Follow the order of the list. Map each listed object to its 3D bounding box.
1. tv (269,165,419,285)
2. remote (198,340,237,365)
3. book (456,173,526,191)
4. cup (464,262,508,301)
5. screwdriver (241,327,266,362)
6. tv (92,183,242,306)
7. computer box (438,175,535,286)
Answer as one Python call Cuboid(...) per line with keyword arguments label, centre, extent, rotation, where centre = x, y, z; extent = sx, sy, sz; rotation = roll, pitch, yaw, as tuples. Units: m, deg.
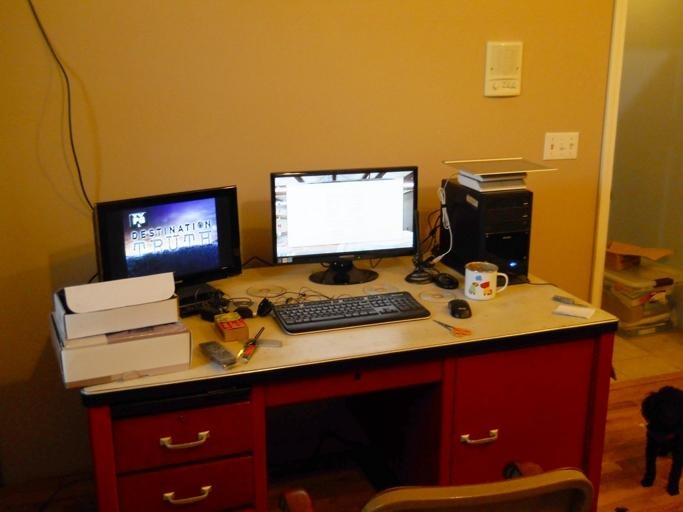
Cuboid(label="tv", centre=(0.008, -0.133, 2.386), extent=(0.478, 0.361, 0.193), rotation=(-4, 13, -10))
Cuboid(label="remote", centre=(-0.404, 0.314, 1.855), extent=(0.065, 0.027, 0.158), rotation=(-20, 26, -38))
Cuboid(label="book", centre=(0.609, -0.310, 2.352), extent=(0.272, 0.052, 0.172), rotation=(2, 21, 14))
Cuboid(label="cup", centre=(0.550, 0.099, 2.292), extent=(0.189, 0.126, 0.120), rotation=(0, 19, -1))
Cuboid(label="screwdriver", centre=(-0.298, 0.297, 1.906), extent=(0.048, 0.021, 0.149), rotation=(4, 21, 5))
Cuboid(label="tv", centre=(-0.640, -0.035, 2.113), extent=(0.443, 0.317, 0.131), rotation=(-11, 13, -33))
Cuboid(label="computer box", centre=(0.617, -0.115, 2.491), extent=(0.229, 0.363, 0.383), rotation=(-5, 12, -16))
